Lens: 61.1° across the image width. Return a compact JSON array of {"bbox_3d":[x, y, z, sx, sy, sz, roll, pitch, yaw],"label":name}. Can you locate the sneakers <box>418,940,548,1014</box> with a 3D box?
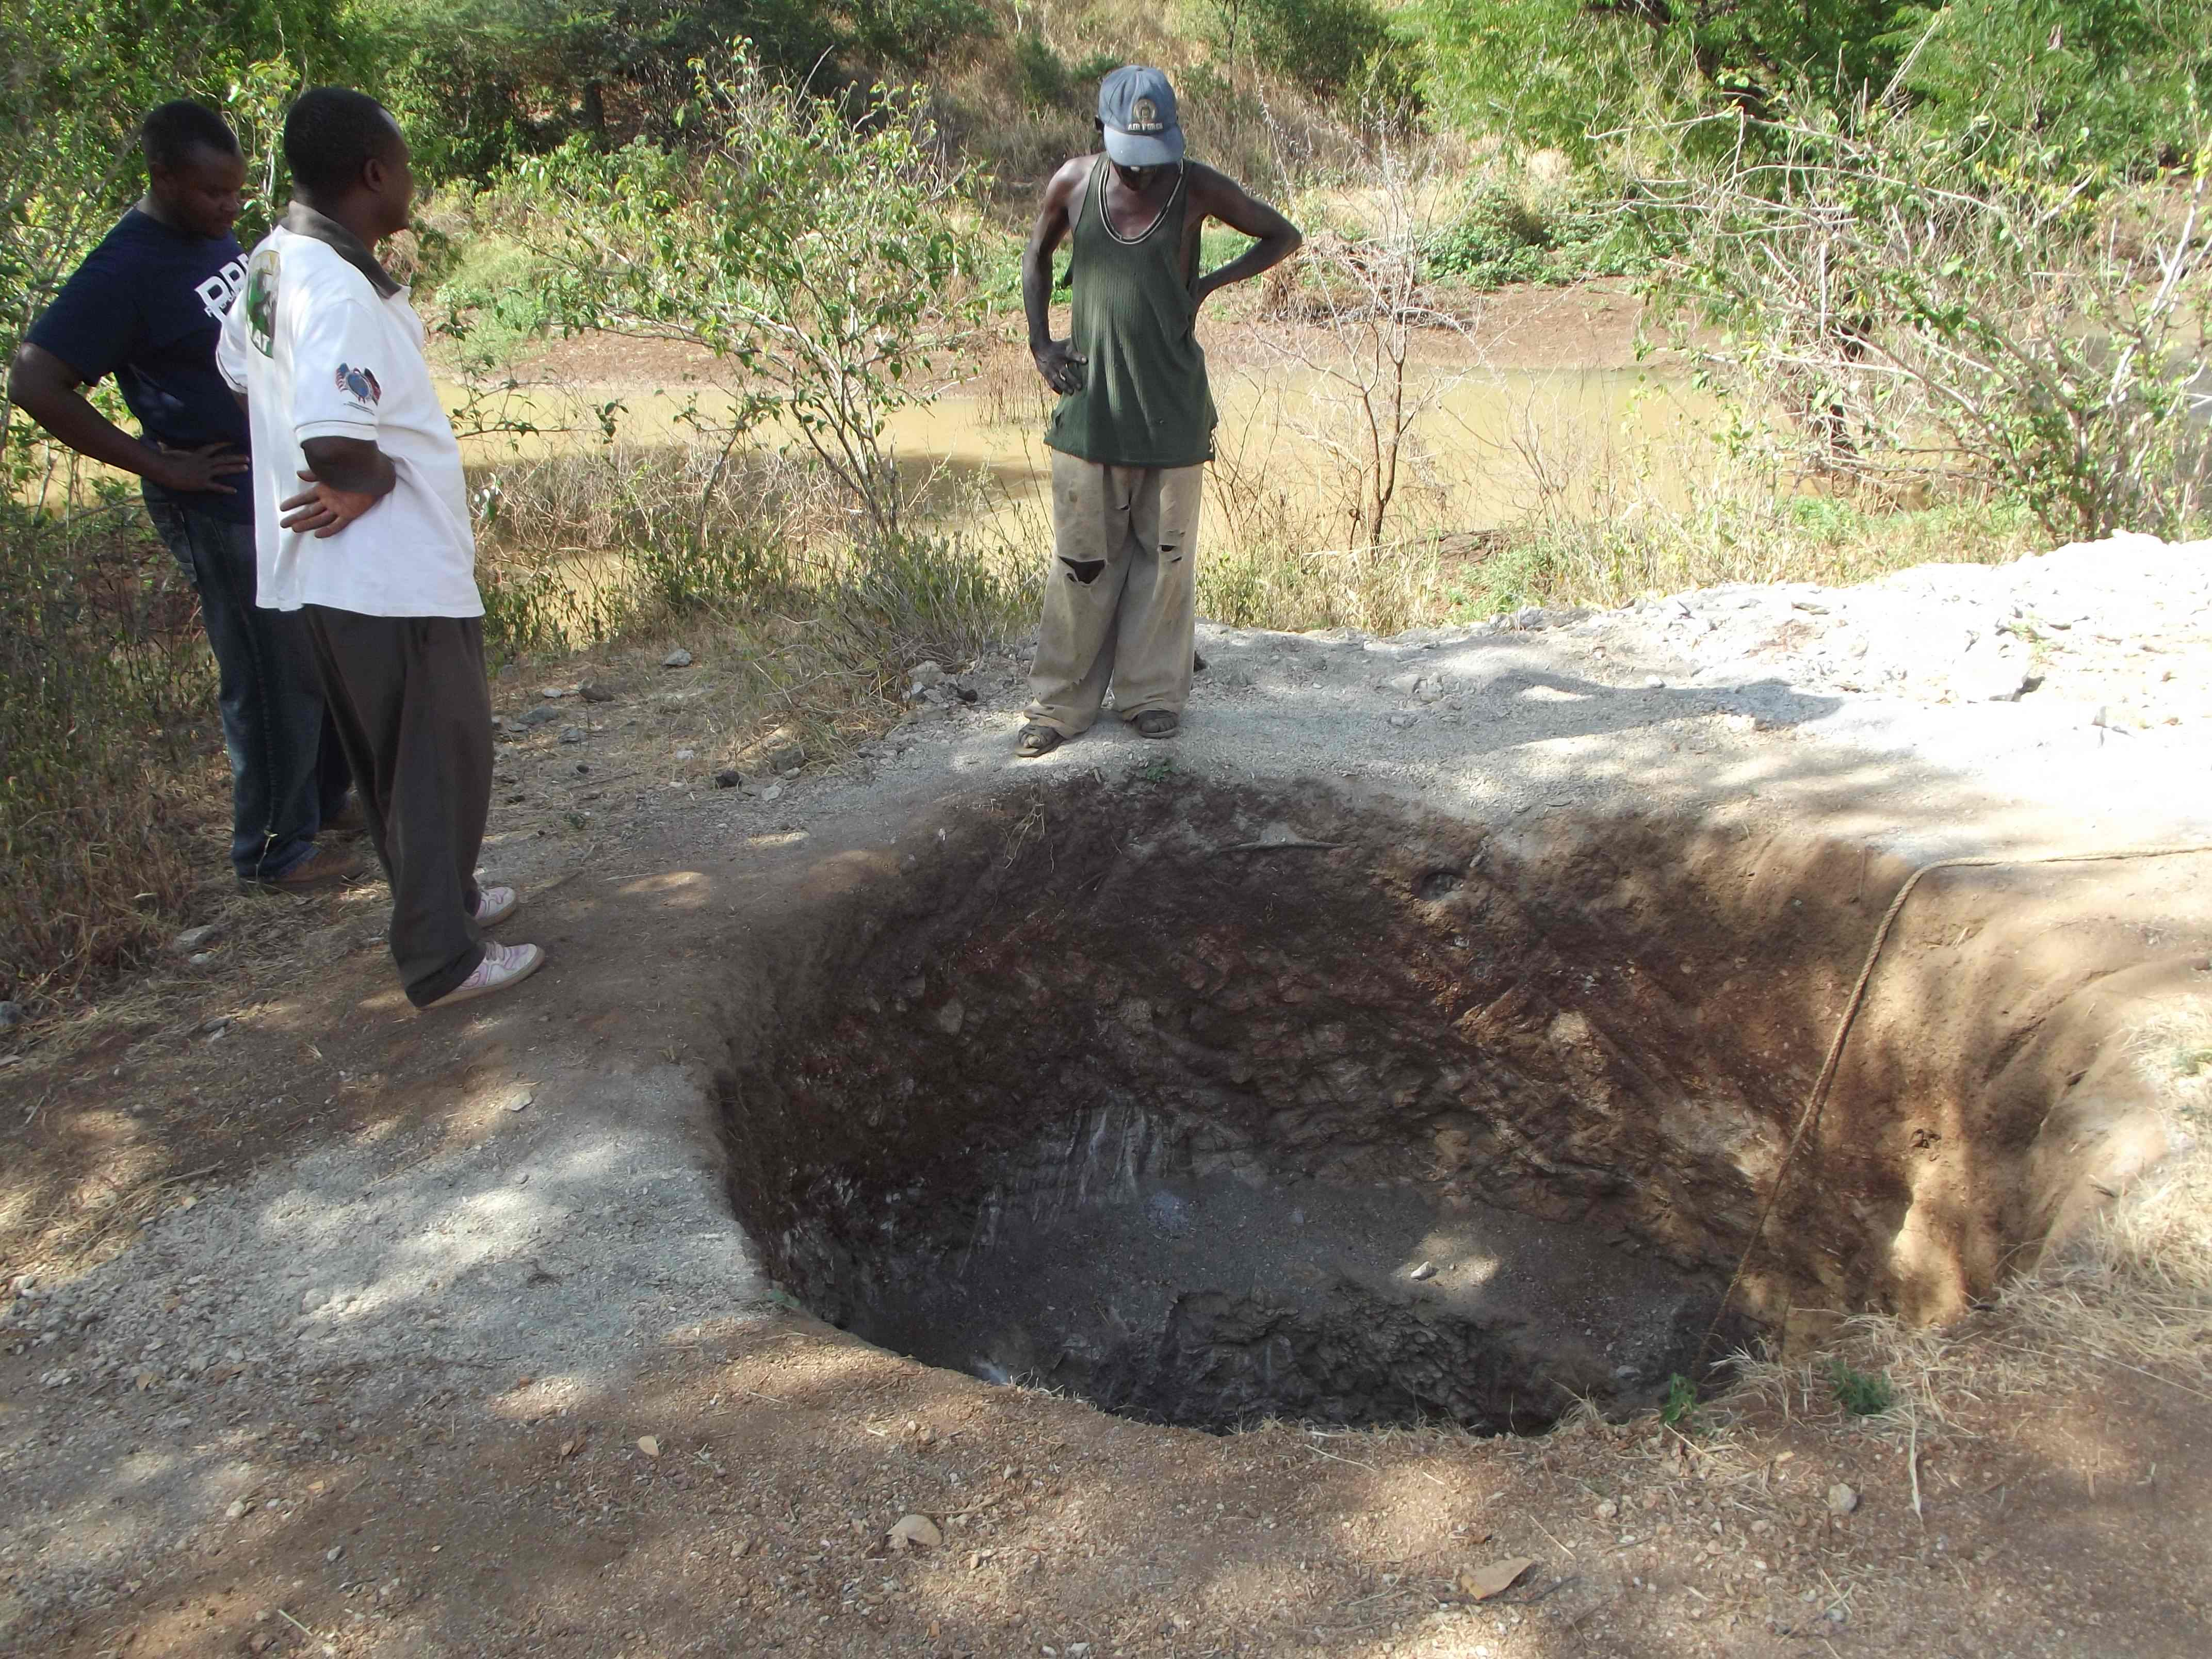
[{"bbox_3d":[-1.833,0.425,5.550,0.324,0.142,0.138,-26,37,-26],"label":"sneakers"}]

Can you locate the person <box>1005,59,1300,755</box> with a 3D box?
[{"bbox_3d":[0.097,-1.337,6.209,0.878,2.154,0.560,4,17,27],"label":"person"}]

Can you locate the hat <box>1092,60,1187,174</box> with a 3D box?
[{"bbox_3d":[0.108,-2.185,5.779,0.237,0.315,0.272,-4,16,2],"label":"hat"}]

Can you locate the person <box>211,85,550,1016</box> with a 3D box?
[{"bbox_3d":[-2.012,-0.702,5.173,0.576,2.524,0.446,-9,16,-19],"label":"person"}]
